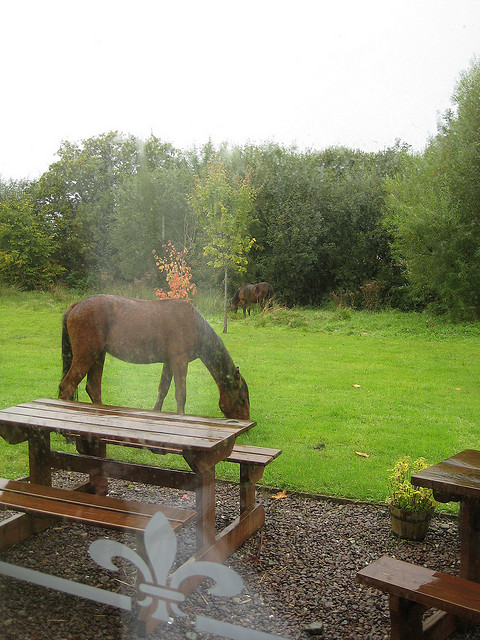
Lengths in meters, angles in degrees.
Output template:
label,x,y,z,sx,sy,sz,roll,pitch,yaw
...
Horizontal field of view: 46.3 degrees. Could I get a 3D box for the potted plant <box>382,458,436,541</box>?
label,x,y,z,sx,sy,sz,roll,pitch,yaw
potted plant,1.121,1.166,3.699,0.288,0.497,0.342,-2,-1,28
